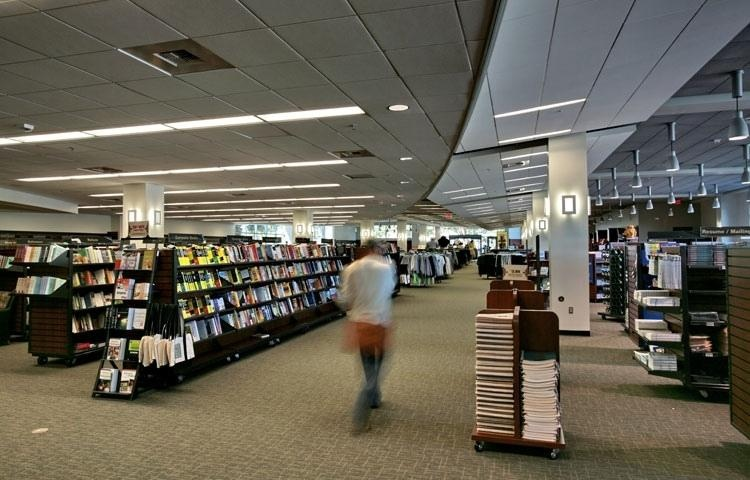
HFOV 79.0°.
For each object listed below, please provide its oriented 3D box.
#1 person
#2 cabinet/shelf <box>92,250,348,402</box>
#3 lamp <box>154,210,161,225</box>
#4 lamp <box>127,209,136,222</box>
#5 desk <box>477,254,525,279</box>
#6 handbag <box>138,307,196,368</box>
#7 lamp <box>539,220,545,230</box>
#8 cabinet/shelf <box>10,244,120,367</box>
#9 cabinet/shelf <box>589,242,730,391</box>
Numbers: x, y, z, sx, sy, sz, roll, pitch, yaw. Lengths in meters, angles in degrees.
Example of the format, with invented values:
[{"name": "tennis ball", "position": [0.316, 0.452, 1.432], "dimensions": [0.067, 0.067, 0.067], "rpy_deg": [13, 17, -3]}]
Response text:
[{"name": "person", "position": [-0.157, 1.224, 6.208], "dimensions": [0.638, 2.335, 1.077], "rpy_deg": [2, 7, 24]}, {"name": "cabinet/shelf", "position": [-2.722, 1.165, 8.943], "dimensions": [1.224, 2.424, 5.262], "rpy_deg": [2, 7, 24]}, {"name": "lamp", "position": [-6.887, -0.698, 14.314], "dimensions": [0.097, 0.473, 0.309], "rpy_deg": [3, 7, 31]}, {"name": "lamp", "position": [-7.536, -0.769, 14.071], "dimensions": [0.360, 0.337, 0.133], "rpy_deg": [2, 7, 27]}, {"name": "desk", "position": [5.864, 1.179, 21.755], "dimensions": [2.141, 1.108, 2.434], "rpy_deg": [1, 2, 10]}, {"name": "handbag", "position": [-3.266, 1.521, 7.022], "dimensions": [1.067, 0.933, 0.581], "rpy_deg": [3, 9, 22]}, {"name": "lamp", "position": [6.681, -0.604, 18.176], "dimensions": [0.234, 0.374, 0.528], "rpy_deg": [0, 6, 11]}, {"name": "cabinet/shelf", "position": [-5.610, 1.199, 8.323], "dimensions": [0.852, 1.877, 2.250], "rpy_deg": [-1, -3, 6]}, {"name": "cabinet/shelf", "position": [4.770, 1.314, 7.593], "dimensions": [0.783, 1.797, 2.198], "rpy_deg": [1, -5, 7]}]
